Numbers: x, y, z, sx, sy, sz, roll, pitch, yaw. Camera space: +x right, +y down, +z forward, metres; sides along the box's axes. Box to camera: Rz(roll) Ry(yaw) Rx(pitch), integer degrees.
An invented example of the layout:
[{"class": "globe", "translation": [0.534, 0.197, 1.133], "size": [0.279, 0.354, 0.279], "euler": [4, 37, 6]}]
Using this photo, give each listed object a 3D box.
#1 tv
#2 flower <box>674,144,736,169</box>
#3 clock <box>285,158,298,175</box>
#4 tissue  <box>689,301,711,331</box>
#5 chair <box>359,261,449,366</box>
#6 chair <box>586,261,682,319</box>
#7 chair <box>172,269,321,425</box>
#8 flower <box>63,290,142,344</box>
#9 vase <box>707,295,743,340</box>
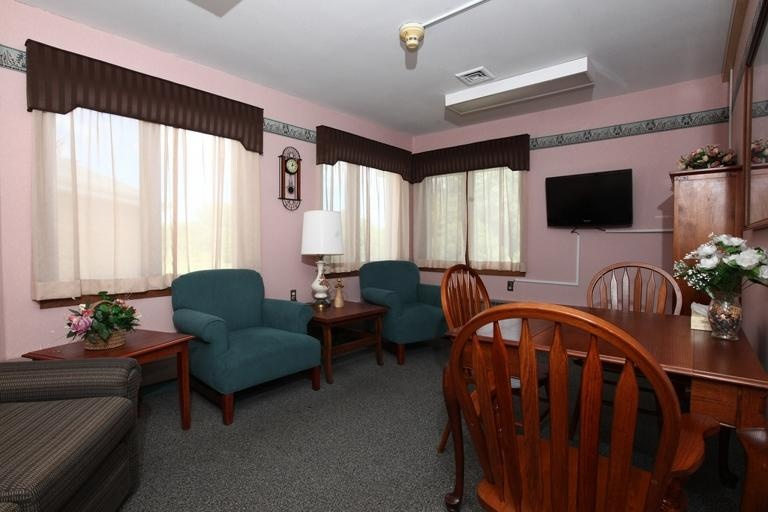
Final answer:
[{"class": "tv", "translation": [2.281, -0.637, 5.731], "size": [0.906, 0.587, 0.077], "euler": [-1, 4, 38]}, {"class": "flower", "translation": [2.907, -0.872, 4.602], "size": [0.290, 0.157, 0.298], "euler": [-5, 3, -24]}, {"class": "clock", "translation": [-1.022, -1.004, 5.668], "size": [0.031, 0.139, 0.133], "euler": [4, 20, 31]}, {"class": "tissue ", "translation": [2.142, 0.407, 3.456], "size": [0.160, 0.159, 0.037], "euler": [10, 4, -34]}, {"class": "chair", "translation": [0.278, 0.619, 6.145], "size": [1.031, 1.256, 1.020], "euler": [-1, -2, -36]}, {"class": "chair", "translation": [2.234, 0.298, 4.503], "size": [0.450, 0.608, 0.423], "euler": [-4, -8, 29]}, {"class": "chair", "translation": [-1.331, 0.692, 4.894], "size": [1.300, 1.260, 1.191], "euler": [1, 2, 42]}, {"class": "flower", "translation": [-2.210, 0.516, 4.051], "size": [0.507, 0.362, 0.478], "euler": [-6, 10, -14]}, {"class": "vase", "translation": [2.226, 0.383, 3.333], "size": [0.175, 0.296, 0.185], "euler": [0, 5, 42]}]
